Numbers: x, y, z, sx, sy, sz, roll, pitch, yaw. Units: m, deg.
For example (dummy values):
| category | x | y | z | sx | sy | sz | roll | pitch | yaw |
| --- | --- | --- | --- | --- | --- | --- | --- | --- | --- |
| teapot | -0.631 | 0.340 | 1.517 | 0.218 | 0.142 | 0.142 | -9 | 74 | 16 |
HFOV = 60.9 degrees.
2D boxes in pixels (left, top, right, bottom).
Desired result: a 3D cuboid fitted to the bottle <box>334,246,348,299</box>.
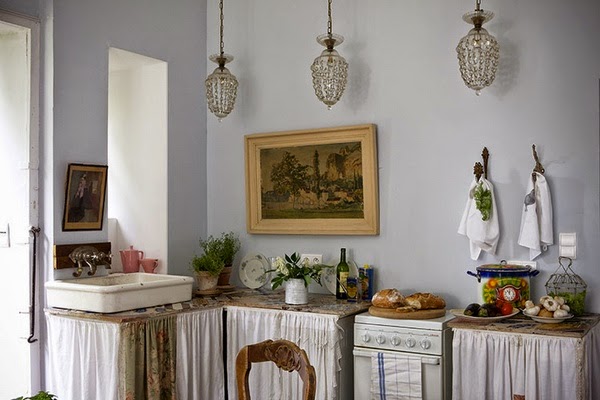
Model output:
| category | x | y | z | sx | sy | sz | roll | pitch | yaw |
| --- | --- | --- | --- | --- | --- | --- | --- | --- | --- |
| bottle | 0.339 | 0.588 | 4.064 | 0.089 | 0.397 | 0.077 | 1 | -4 | 6 |

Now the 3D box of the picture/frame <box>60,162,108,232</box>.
| category | x | y | z | sx | sy | sz | roll | pitch | yaw |
| --- | --- | --- | --- | --- | --- | --- | --- | --- | --- |
| picture/frame | -1.674 | -0.030 | 3.920 | 0.043 | 0.631 | 0.466 | 2 | -6 | 34 |

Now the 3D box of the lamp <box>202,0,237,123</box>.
| category | x | y | z | sx | sy | sz | roll | pitch | yaw |
| --- | --- | --- | --- | --- | --- | --- | --- | --- | --- |
| lamp | -0.655 | -1.265 | 4.372 | 0.254 | 1.228 | 0.701 | 2 | -4 | -7 |

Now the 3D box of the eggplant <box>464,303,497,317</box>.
| category | x | y | z | sx | sy | sz | roll | pitch | yaw |
| --- | --- | --- | --- | --- | --- | --- | --- | --- | --- |
| eggplant | 1.262 | 0.761 | 3.519 | 0.142 | 0.058 | 0.108 | 7 | -14 | -35 |

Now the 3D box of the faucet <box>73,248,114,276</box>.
| category | x | y | z | sx | sy | sz | roll | pitch | yaw |
| --- | --- | --- | --- | --- | --- | --- | --- | --- | --- |
| faucet | -1.622 | 0.457 | 3.896 | 0.124 | 0.191 | 0.345 | 1 | 3 | 34 |

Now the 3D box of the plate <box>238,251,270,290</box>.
| category | x | y | z | sx | sy | sz | roll | pitch | yaw |
| --- | --- | --- | --- | --- | --- | --- | --- | --- | --- |
| plate | -0.394 | 0.627 | 4.550 | 0.303 | 0.320 | 0.065 | -4 | -11 | 33 |

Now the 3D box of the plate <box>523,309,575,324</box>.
| category | x | y | z | sx | sy | sz | roll | pitch | yaw |
| --- | --- | --- | --- | --- | --- | --- | --- | --- | --- |
| plate | 1.665 | 0.789 | 3.430 | 0.302 | 0.071 | 0.191 | -1 | -5 | 26 |

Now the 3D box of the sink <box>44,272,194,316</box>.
| category | x | y | z | sx | sy | sz | roll | pitch | yaw |
| --- | --- | --- | --- | --- | --- | --- | --- | --- | --- |
| sink | -1.382 | 0.693 | 3.878 | 0.920 | 0.238 | 0.677 | 6 | -7 | -44 |

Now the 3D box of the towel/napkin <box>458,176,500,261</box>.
| category | x | y | z | sx | sy | sz | roll | pitch | yaw |
| --- | --- | --- | --- | --- | --- | --- | --- | --- | --- |
| towel/napkin | 1.336 | 0.135 | 3.826 | 0.287 | 0.629 | 0.115 | 0 | -4 | 21 |

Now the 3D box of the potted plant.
| category | x | y | z | sx | sy | sz | roll | pitch | yaw |
| --- | --- | --- | --- | --- | --- | --- | --- | --- | --- |
| potted plant | -0.684 | 0.545 | 4.392 | 0.401 | 0.647 | 0.606 | 3 | -9 | -23 |

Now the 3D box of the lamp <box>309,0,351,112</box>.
| category | x | y | z | sx | sy | sz | roll | pitch | yaw |
| --- | --- | --- | --- | --- | --- | --- | --- | --- | --- |
| lamp | 0.244 | -1.219 | 4.052 | 0.280 | 1.002 | 0.541 | 1 | -4 | 5 |

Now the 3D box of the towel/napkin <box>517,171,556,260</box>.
| category | x | y | z | sx | sy | sz | roll | pitch | yaw |
| --- | --- | --- | --- | --- | --- | --- | --- | --- | --- |
| towel/napkin | 1.702 | 0.113 | 3.691 | 0.216 | 0.632 | 0.101 | -1 | -4 | 24 |

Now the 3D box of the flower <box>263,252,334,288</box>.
| category | x | y | z | sx | sy | sz | roll | pitch | yaw |
| --- | --- | --- | --- | --- | --- | --- | --- | --- | --- |
| flower | 0.023 | 0.583 | 4.186 | 0.487 | 0.306 | 0.605 | 1 | -5 | 0 |

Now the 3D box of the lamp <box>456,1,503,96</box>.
| category | x | y | z | sx | sy | sz | roll | pitch | yaw |
| --- | --- | --- | --- | --- | --- | --- | --- | --- | --- |
| lamp | 1.260 | -1.094 | 3.589 | 0.300 | 0.682 | 0.204 | 3 | -4 | -29 |

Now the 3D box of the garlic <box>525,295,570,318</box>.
| category | x | y | z | sx | sy | sz | roll | pitch | yaw |
| --- | --- | --- | --- | --- | --- | --- | --- | --- | --- |
| garlic | 1.661 | 0.722 | 3.410 | 0.181 | 0.086 | 0.186 | -1 | -1 | 25 |

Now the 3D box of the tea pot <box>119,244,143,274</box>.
| category | x | y | z | sx | sy | sz | roll | pitch | yaw |
| --- | --- | --- | --- | --- | --- | --- | --- | --- | --- |
| tea pot | -1.465 | 0.513 | 4.464 | 0.282 | 0.231 | 0.161 | -2 | -5 | 32 |

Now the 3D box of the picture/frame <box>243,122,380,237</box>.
| category | x | y | z | sx | sy | sz | roll | pitch | yaw |
| --- | --- | --- | --- | --- | --- | --- | --- | --- | --- |
| picture/frame | 0.146 | -0.171 | 4.326 | 0.952 | 0.710 | 0.078 | -1 | 2 | 27 |

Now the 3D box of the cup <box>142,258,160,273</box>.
| category | x | y | z | sx | sy | sz | roll | pitch | yaw |
| --- | --- | --- | --- | --- | --- | --- | --- | --- | --- |
| cup | -1.302 | 0.565 | 4.407 | 0.139 | 0.122 | 0.146 | 1 | -4 | 0 |

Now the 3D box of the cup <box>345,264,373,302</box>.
| category | x | y | z | sx | sy | sz | roll | pitch | yaw |
| --- | --- | --- | --- | --- | --- | --- | --- | --- | --- |
| cup | 0.494 | 0.652 | 4.061 | 0.231 | 0.351 | 0.253 | 0 | -3 | 0 |

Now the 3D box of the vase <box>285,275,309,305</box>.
| category | x | y | z | sx | sy | sz | roll | pitch | yaw |
| --- | --- | --- | --- | --- | --- | --- | --- | --- | --- |
| vase | -0.024 | 0.715 | 3.987 | 0.171 | 0.196 | 0.182 | 0 | -5 | -1 |

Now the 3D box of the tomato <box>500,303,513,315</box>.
| category | x | y | z | sx | sy | sz | roll | pitch | yaw |
| --- | --- | --- | --- | --- | --- | --- | --- | --- | --- |
| tomato | 1.434 | 0.755 | 3.549 | 0.081 | 0.083 | 0.079 | 2 | -7 | 5 |
